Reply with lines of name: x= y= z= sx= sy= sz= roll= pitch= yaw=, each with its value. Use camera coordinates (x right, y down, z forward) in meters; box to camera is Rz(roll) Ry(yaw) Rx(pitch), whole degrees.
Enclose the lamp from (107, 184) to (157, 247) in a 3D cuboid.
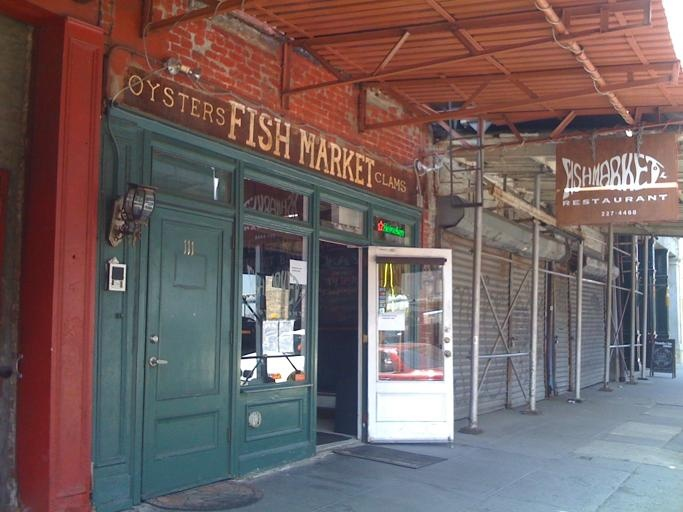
lamp: x=-2.136 y=-0.416 z=7.293 sx=0.391 sy=0.648 sz=0.301 roll=2 pitch=-1 yaw=-42
